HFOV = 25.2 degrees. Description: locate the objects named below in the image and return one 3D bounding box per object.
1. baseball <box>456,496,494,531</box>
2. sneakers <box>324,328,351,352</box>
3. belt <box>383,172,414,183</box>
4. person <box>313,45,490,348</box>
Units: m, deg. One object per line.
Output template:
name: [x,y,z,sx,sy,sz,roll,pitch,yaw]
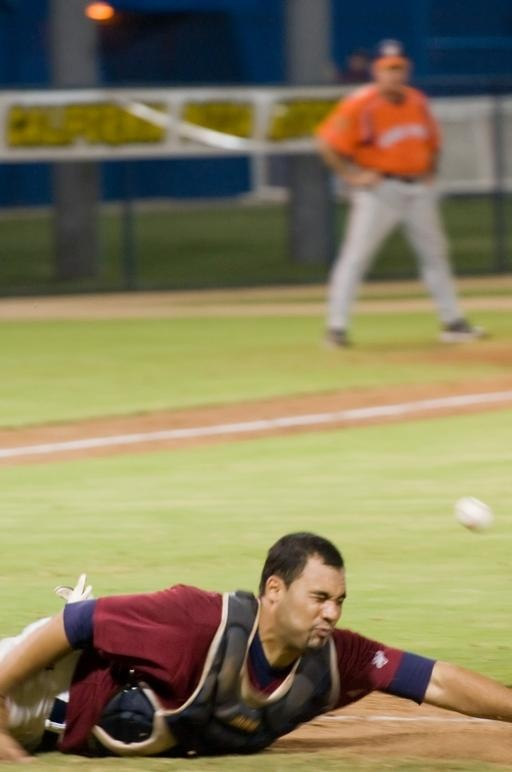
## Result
baseball: [0.738,0.453,3.943,0.115,0.153,0.147,-2,13,-2]
sneakers: [0.555,-0.329,7.530,0.134,0.161,0.163,-4,38,-9]
belt: [0.876,-1.280,7.042,0.205,0.062,0.036,-4,14,-12]
person: [0.877,-1.048,7.220,0.900,1.660,0.695,-3,14,-5]
